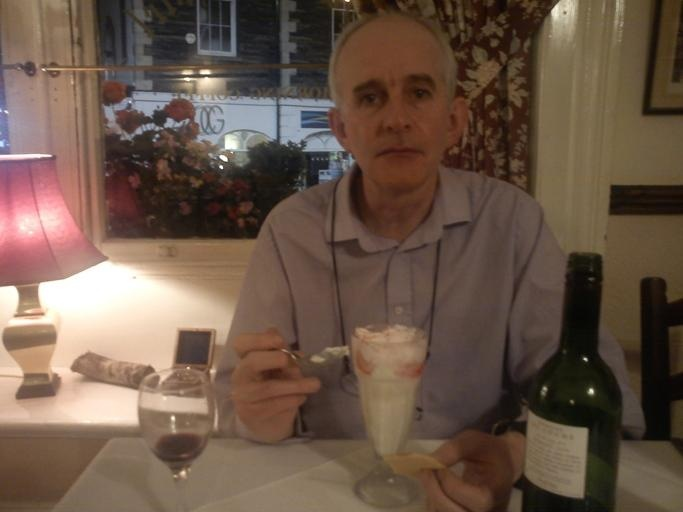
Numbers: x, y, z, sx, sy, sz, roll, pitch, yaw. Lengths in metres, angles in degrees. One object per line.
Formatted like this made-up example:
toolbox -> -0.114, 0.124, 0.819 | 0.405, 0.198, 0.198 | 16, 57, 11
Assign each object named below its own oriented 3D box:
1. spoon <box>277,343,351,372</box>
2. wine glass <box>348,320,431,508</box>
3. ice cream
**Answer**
spoon -> -0.076, 0.298, 1.735 | 0.196, 0.070, 0.121 | -4, -3, -5
wine glass -> 0.132, 0.430, 1.684 | 0.206, 0.439, 0.249 | 0, 14, 3
ice cream -> 0.145, 0.403, 1.759 | 0.190, 0.385, 0.184 | 5, 11, 33
